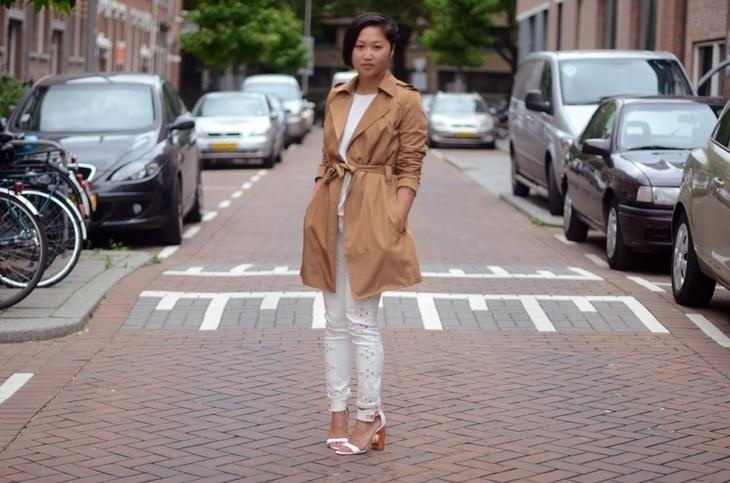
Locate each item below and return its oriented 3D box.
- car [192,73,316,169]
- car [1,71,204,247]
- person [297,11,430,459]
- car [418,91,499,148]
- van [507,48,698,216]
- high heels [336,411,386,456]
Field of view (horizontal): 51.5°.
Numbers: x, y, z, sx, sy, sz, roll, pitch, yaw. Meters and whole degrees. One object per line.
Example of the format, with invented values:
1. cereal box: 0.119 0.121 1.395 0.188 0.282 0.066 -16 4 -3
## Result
1. car: -3.732 -3.671 23.709 2.706 2.028 5.778 0 3 2
2. car: -3.406 -1.337 10.894 2.048 2.176 4.881 0 5 -8
3. person: -0.099 -0.010 4.538 0.886 2.323 1.212 0 -2 -16
4. car: 3.939 -5.063 31.144 2.207 2.010 5.306 1 5 2
5. van: 4.367 -2.440 15.025 2.623 2.064 4.360 0 5 -2
6. high heels: 0.016 1.124 4.356 0.208 0.203 0.443 6 9 35
